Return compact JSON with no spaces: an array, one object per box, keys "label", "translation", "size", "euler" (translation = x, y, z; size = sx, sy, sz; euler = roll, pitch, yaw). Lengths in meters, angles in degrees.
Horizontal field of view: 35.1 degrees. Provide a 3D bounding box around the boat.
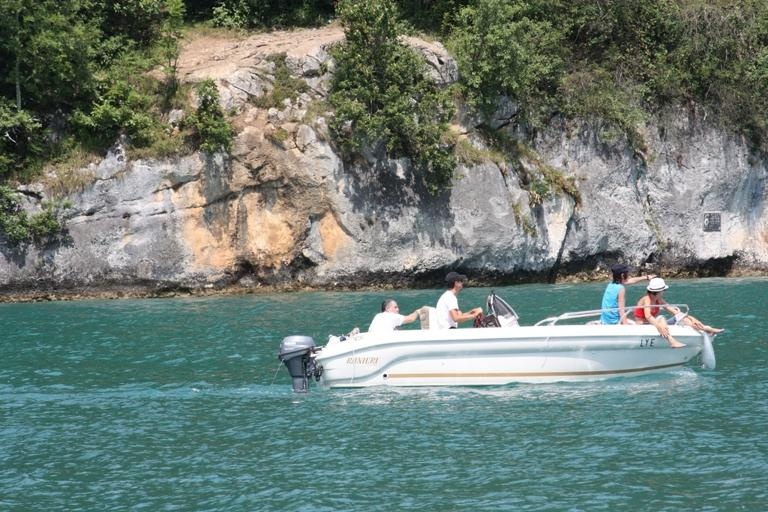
[{"label":"boat","translation":[3.303,3.224,37.805],"size":[12.520,2.592,0.720],"euler":[-2,0,-1]}]
